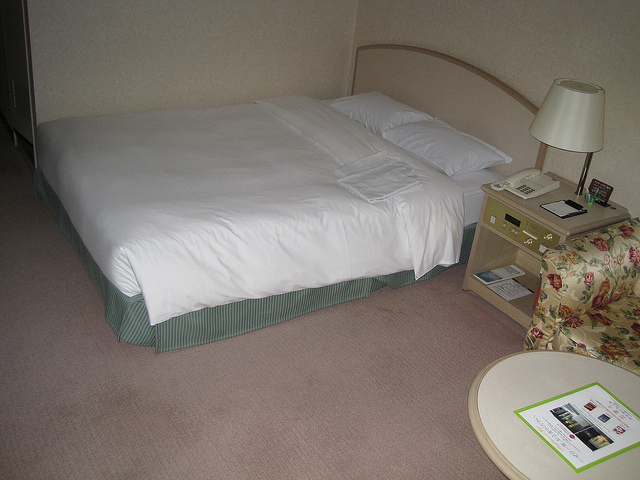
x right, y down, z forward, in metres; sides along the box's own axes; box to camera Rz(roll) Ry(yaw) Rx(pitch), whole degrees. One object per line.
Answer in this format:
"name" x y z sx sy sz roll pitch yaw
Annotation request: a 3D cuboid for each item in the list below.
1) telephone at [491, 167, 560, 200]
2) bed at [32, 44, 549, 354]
"telephone" 1.440 -0.404 3.314 0.492 0.091 0.265 -16 38 -23
"bed" -0.318 -0.710 4.122 3.514 1.411 2.823 -13 32 -30
